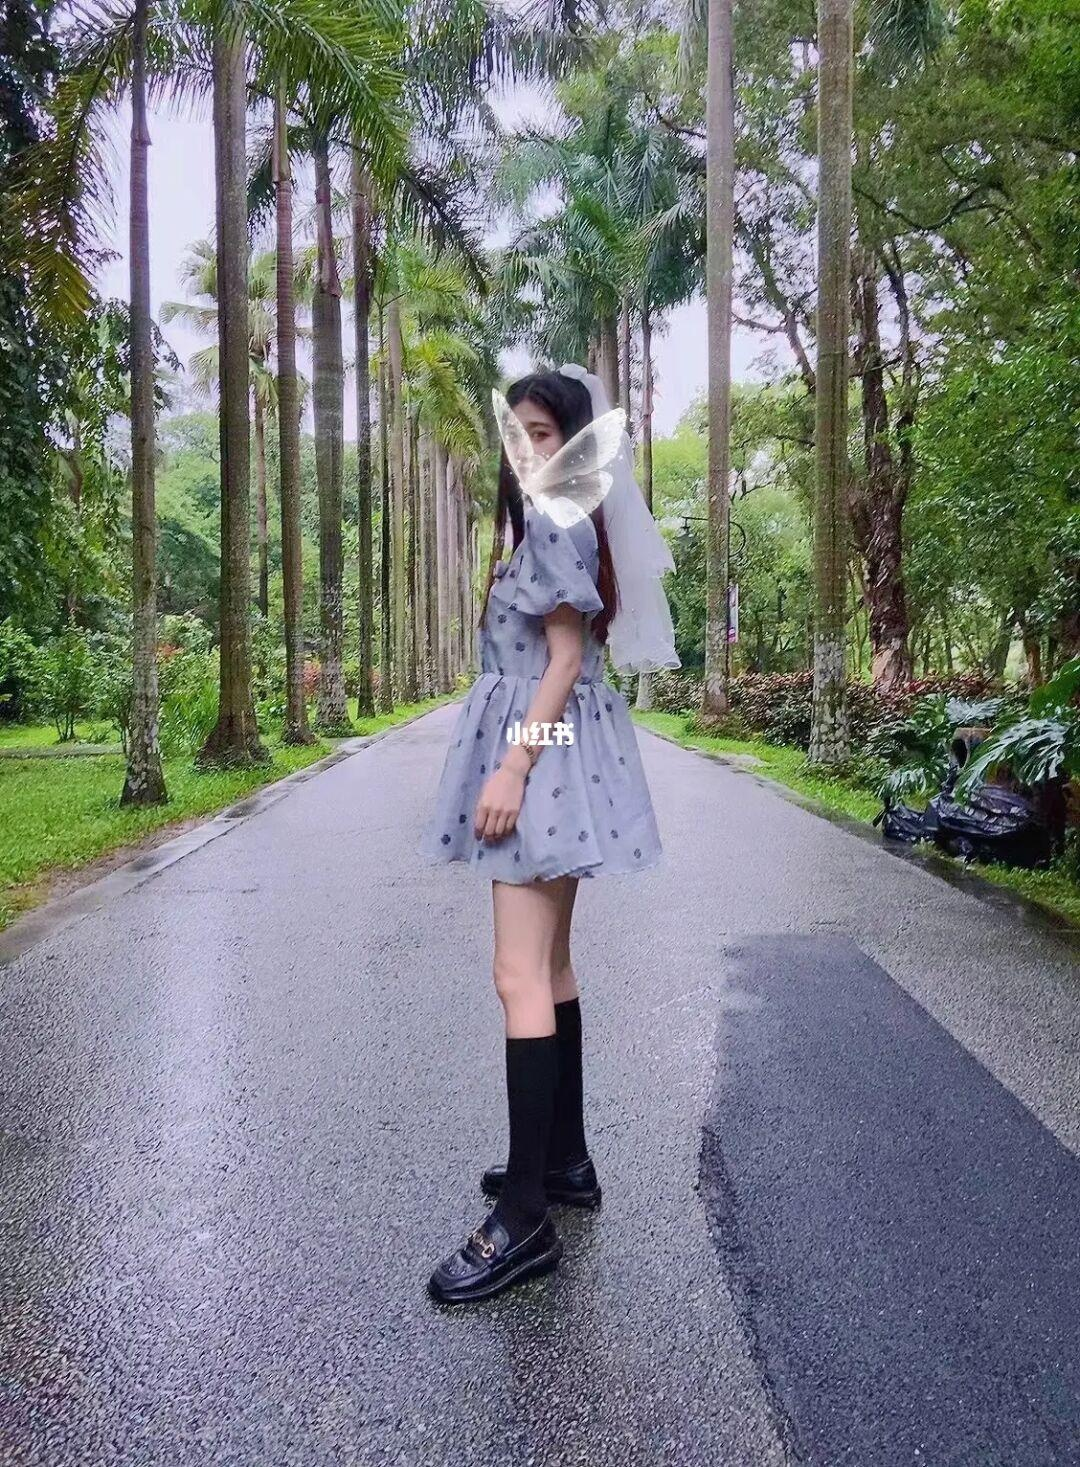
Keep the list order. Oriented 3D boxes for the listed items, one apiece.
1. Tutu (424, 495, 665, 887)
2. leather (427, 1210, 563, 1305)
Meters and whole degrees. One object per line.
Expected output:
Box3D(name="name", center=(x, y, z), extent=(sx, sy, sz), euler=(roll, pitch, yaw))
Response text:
Box3D(name="Tutu", center=(-0.066, -0.097, 2.429), extent=(0.456, 1.182, 0.626), euler=(1, 1, -13))
Box3D(name="leather", center=(-0.084, 0.939, 1.961), extent=(0.231, 0.157, 0.107), euler=(-5, 0, -35))
